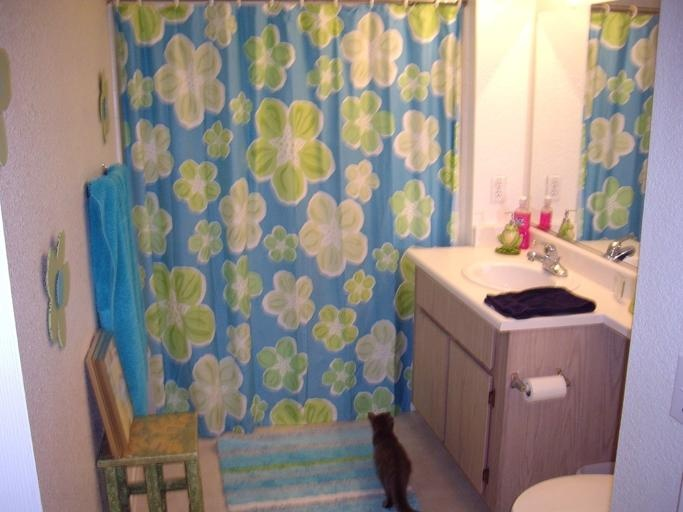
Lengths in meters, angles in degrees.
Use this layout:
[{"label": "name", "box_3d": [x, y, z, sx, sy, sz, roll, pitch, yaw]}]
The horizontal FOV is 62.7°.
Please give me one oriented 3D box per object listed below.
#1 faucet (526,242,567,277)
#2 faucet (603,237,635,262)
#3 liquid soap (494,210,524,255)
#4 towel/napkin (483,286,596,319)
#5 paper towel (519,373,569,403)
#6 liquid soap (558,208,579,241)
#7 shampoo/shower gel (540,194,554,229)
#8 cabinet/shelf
[{"label": "faucet", "box_3d": [1.006, 0.024, 2.738, 0.086, 0.179, 0.262, -3, 8, -27]}, {"label": "faucet", "box_3d": [1.242, -0.025, 2.532, 0.058, 0.065, 0.113, 17, -38, -40]}, {"label": "liquid soap", "box_3d": [0.897, -0.124, 3.033, 0.132, 0.229, 0.107, 10, 4, -11]}, {"label": "towel/napkin", "box_3d": [0.819, 0.197, 2.328, 0.187, 0.041, 0.207, -5, 16, -9]}, {"label": "paper towel", "box_3d": [0.837, 0.531, 2.294, 0.201, 0.092, 0.077, -8, 11, -17]}, {"label": "liquid soap", "box_3d": [1.149, -0.162, 2.883, 0.027, 0.160, 0.128, -6, 10, -12]}, {"label": "shampoo/shower gel", "box_3d": [1.092, -0.232, 3.025, 0.038, 0.191, 0.087, -6, 10, -9]}, {"label": "cabinet/shelf", "box_3d": [0.859, 0.624, 2.995, 0.755, 1.335, 1.292, -3, 15, -9]}]
